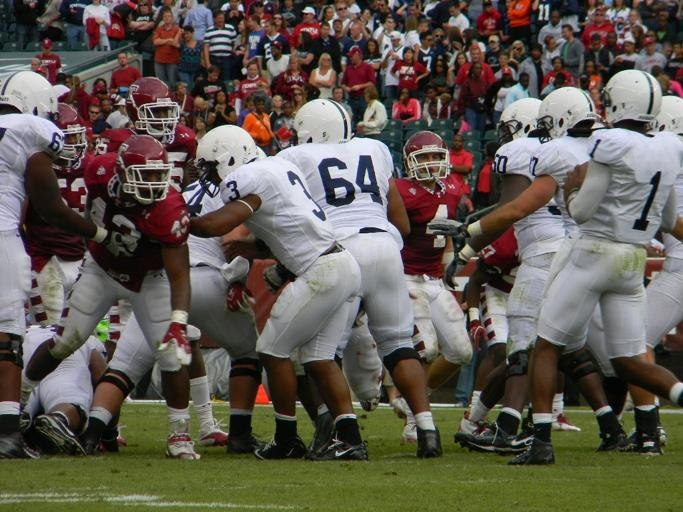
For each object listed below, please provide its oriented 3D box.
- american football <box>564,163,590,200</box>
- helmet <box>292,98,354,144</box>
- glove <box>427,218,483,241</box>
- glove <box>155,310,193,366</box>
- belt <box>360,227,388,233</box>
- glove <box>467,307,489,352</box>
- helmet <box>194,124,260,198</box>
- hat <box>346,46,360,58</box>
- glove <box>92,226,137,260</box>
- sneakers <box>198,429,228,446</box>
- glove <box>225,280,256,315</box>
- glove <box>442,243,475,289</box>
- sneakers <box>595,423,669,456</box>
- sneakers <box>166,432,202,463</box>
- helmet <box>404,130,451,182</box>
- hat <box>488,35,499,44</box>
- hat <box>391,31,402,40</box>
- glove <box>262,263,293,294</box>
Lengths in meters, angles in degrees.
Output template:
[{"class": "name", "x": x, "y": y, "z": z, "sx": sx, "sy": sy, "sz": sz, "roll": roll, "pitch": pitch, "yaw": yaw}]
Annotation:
[{"class": "american football", "x": 1.594, "y": -0.529, "z": 7.353, "sx": 0.118, "sy": 0.185, "sz": 0.153, "roll": 1, "pitch": -12, "yaw": 10}, {"class": "helmet", "x": -0.139, "y": -0.981, "z": 7.954, "sx": 0.382, "sy": 0.361, "sz": 0.288, "roll": -16, "pitch": 5, "yaw": 20}, {"class": "glove", "x": 0.800, "y": -0.180, "z": 7.690, "sx": 0.343, "sy": 0.137, "sz": 0.148, "roll": -3, "pitch": 23, "yaw": 20}, {"class": "glove", "x": -1.079, "y": 0.547, "z": 6.954, "sx": 0.226, "sy": 0.382, "sz": 0.146, "roll": -21, "pitch": -13, "yaw": 36}, {"class": "belt", "x": 0.218, "y": -0.172, "z": 7.433, "sx": 0.191, "sy": 0.036, "sz": 0.024, "roll": 3, "pitch": -1, "yaw": -18}, {"class": "glove", "x": 1.122, "y": 0.562, "z": 8.850, "sx": 0.264, "sy": 0.091, "sz": 0.075, "roll": 43, "pitch": 13, "yaw": -32}, {"class": "helmet", "x": -0.853, "y": -0.739, "z": 8.062, "sx": 0.531, "sy": 0.496, "sz": 0.427, "roll": -18, "pitch": 7, "yaw": 10}, {"class": "hat", "x": 0.198, "y": -3.181, "z": 16.733, "sx": 0.233, "sy": 0.149, "sz": 0.175, "roll": 3, "pitch": 9, "yaw": 8}, {"class": "glove", "x": -1.493, "y": -0.091, "z": 7.175, "sx": 0.296, "sy": 0.177, "sz": 0.116, "roll": 2, "pitch": -1, "yaw": 16}, {"class": "sneakers", "x": -0.993, "y": 1.423, "z": 8.399, "sx": 0.242, "sy": 0.120, "sz": 0.101, "roll": -7, "pitch": -8, "yaw": 12}, {"class": "glove", "x": -0.734, "y": 0.304, "z": 7.742, "sx": 0.169, "sy": 0.235, "sz": 0.084, "roll": 4, "pitch": -7, "yaw": -29}, {"class": "glove", "x": 0.807, "y": 0.038, "z": 7.999, "sx": 0.123, "sy": 0.308, "sz": 0.315, "roll": 39, "pitch": 9, "yaw": 22}, {"class": "sneakers", "x": 2.185, "y": 1.335, "z": 7.867, "sx": 0.177, "sy": 0.234, "sz": 0.518, "roll": 5, "pitch": -2, "yaw": -27}, {"class": "sneakers", "x": -1.093, "y": 1.319, "z": 7.430, "sx": 0.245, "sy": 0.164, "sz": 0.272, "roll": 3, "pitch": -1, "yaw": -6}, {"class": "helmet", "x": 0.658, "y": -0.852, "z": 8.660, "sx": 0.349, "sy": 0.395, "sz": 0.475, "roll": -12, "pitch": 19, "yaw": -22}, {"class": "hat", "x": 2.377, "y": -3.388, "z": 16.729, "sx": 0.119, "sy": 0.102, "sz": 0.187, "roll": -2, "pitch": 1, "yaw": 18}, {"class": "hat", "x": 0.876, "y": -3.482, "z": 16.961, "sx": 0.124, "sy": 0.188, "sz": 0.181, "roll": 9, "pitch": 8, "yaw": 36}, {"class": "glove", "x": -0.449, "y": 0.160, "z": 7.378, "sx": 0.188, "sy": 0.189, "sz": 0.068, "roll": -42, "pitch": 5, "yaw": -17}]
